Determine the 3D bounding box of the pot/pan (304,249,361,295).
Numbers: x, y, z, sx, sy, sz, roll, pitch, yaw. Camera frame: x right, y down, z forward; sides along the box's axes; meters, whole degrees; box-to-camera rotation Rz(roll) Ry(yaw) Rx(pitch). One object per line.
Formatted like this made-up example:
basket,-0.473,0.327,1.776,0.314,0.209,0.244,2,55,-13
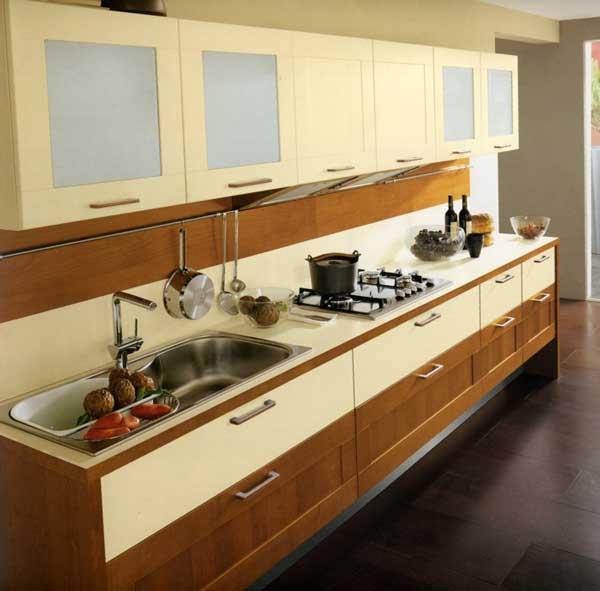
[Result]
pot/pan,0.167,-0.111,2.535,0.220,0.154,0.216,-10,12,-43

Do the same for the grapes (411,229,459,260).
grapes,0.811,-0.299,3.135,0.197,0.114,0.205,7,17,30

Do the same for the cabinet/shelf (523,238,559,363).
cabinet/shelf,1.622,0.012,3.577,0.261,0.719,0.759,0,10,23

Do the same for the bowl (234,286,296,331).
bowl,-0.134,0.043,2.154,0.175,0.101,0.180,-3,12,1

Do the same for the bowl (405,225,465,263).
bowl,0.809,-0.304,3.145,0.233,0.135,0.243,-1,12,0

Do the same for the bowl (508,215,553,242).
bowl,1.683,-0.462,3.783,0.213,0.128,0.208,0,2,0

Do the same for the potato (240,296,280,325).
potato,-0.158,0.043,2.093,0.117,0.066,0.117,3,9,-18

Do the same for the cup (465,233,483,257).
cup,1.092,-0.309,3.309,0.093,0.141,0.150,1,12,22
